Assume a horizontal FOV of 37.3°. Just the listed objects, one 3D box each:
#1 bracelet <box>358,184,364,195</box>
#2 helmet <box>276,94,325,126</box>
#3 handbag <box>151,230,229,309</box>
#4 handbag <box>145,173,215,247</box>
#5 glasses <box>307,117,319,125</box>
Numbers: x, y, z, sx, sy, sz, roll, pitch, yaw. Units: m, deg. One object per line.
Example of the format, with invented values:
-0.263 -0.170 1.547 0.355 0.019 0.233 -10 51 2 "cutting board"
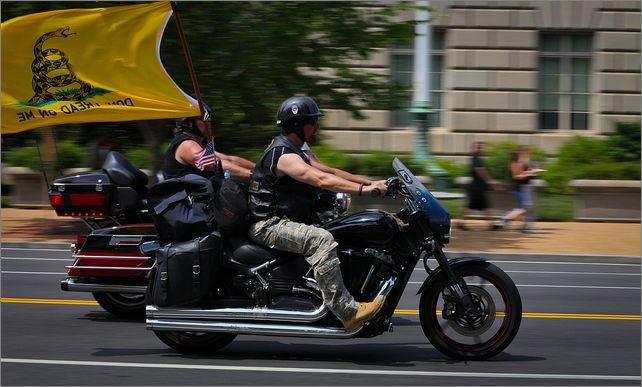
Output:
0.641 -0.079 15.363 0.079 0.154 0.172 13 4 0 "bracelet"
-0.317 -1.424 15.811 0.824 0.272 0.482 -4 4 0 "helmet"
-2.132 1.273 15.636 1.674 1.102 0.806 -7 -9 14 "handbag"
-2.096 0.279 16.107 1.478 1.016 1.057 -15 -13 40 "handbag"
-0.133 -1.209 15.715 0.130 0.069 0.158 2 -18 -37 "glasses"
